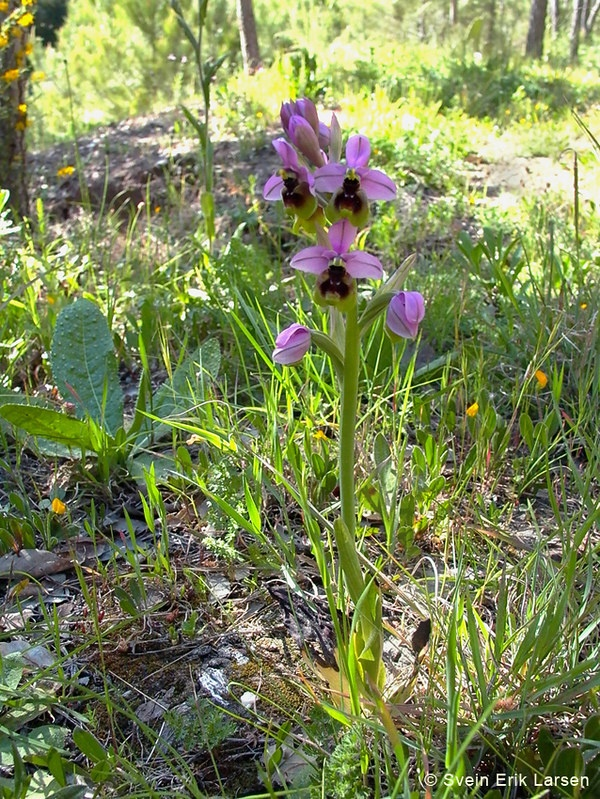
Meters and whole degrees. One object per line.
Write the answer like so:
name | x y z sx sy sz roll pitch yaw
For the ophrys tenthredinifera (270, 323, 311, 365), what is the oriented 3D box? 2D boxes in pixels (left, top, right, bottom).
ophrys tenthredinifera | -0.015 -0.094 1.361 0.071 0.094 0.062 3 29 5

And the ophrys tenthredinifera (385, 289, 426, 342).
ophrys tenthredinifera | 0.181 -0.164 1.399 0.084 0.122 0.087 2 7 -2
